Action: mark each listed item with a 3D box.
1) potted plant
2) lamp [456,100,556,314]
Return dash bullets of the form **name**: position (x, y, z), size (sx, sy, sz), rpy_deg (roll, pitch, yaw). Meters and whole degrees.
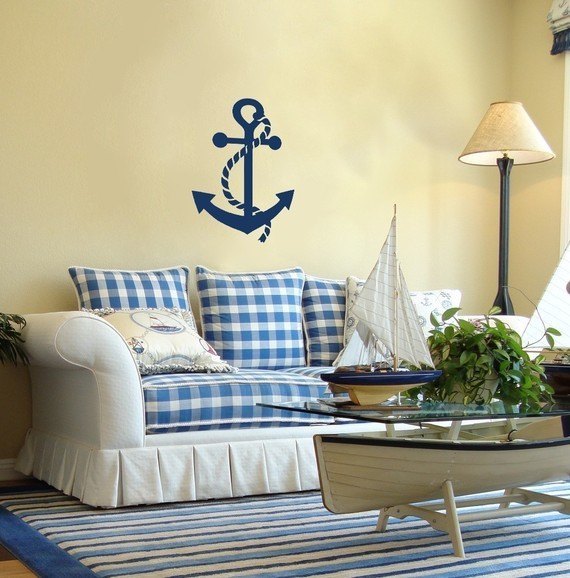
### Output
- **potted plant**: position (0.598, 0.195, 1.712), size (0.332, 0.171, 0.345), rpy_deg (-2, 4, -39)
- **lamp**: position (1.342, -0.520, 3.426), size (0.551, 1.351, 0.695), rpy_deg (-3, -10, 18)
